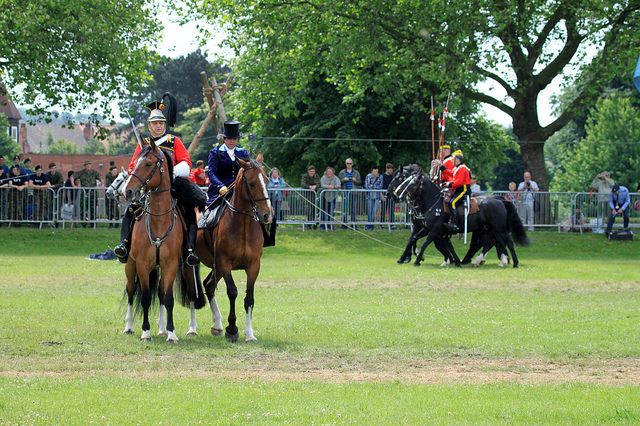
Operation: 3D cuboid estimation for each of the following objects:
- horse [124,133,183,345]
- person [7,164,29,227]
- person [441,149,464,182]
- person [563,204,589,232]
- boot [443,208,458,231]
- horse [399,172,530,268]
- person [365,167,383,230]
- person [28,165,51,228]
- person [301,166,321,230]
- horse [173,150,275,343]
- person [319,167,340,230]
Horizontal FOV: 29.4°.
[{"bbox_3d":[-5.139,0.700,37.500,1.894,6.182,1.676,16,20,42],"label":"horse"},{"bbox_3d":[-12.858,-0.772,52.007,0.891,2.659,1.026,-1,15,-13],"label":"person"},{"bbox_3d":[5.250,-1.969,48.957,1.113,1.140,0.680,3,-10,0],"label":"person"},{"bbox_3d":[11.454,0.253,55.309,1.279,1.067,0.275,-3,0,-6],"label":"person"},{"bbox_3d":[5.226,0.211,47.855,0.379,0.949,0.213,-5,16,-27],"label":"boot"},{"bbox_3d":[5.610,0.212,48.223,4.773,3.655,1.419,0,14,-5],"label":"horse"},{"bbox_3d":[2.294,-0.768,53.574,0.766,2.751,1.061,2,14,1],"label":"person"},{"bbox_3d":[-11.953,-0.751,52.144,0.929,2.670,0.990,-1,15,-11],"label":"person"},{"bbox_3d":[-0.432,-0.778,53.472,0.823,2.787,0.933,2,14,0],"label":"person"},{"bbox_3d":[-2.932,0.993,37.863,2.815,5.567,2.047,5,15,13],"label":"horse"},{"bbox_3d":[0.373,-0.752,53.563,0.851,2.728,0.993,2,14,-1],"label":"person"}]
